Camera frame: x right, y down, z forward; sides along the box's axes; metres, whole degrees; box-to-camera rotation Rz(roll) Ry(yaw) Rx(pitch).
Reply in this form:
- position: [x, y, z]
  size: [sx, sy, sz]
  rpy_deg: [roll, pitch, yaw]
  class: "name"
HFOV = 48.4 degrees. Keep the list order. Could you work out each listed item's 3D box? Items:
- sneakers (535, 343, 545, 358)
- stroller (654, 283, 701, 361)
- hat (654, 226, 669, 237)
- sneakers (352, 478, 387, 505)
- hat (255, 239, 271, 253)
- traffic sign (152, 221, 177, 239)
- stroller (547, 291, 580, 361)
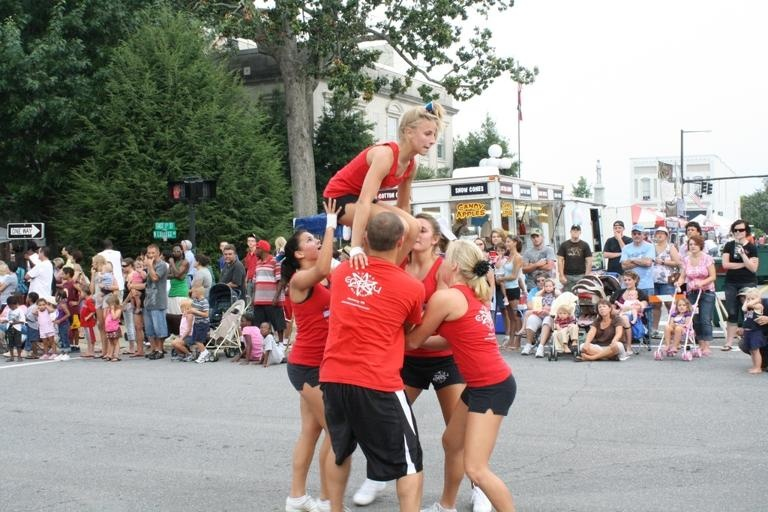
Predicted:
- position: [3.182, 1.933, 17.304]
  size: [0.212, 0.242, 0.614]
  rpy_deg: [-2, -10, 16]
  class: "sneakers"
- position: [5.966, 1.371, 17.144]
  size: [0.880, 1.333, 1.425]
  rpy_deg: [0, -1, 19]
  class: "stroller"
- position: [6.109, -0.538, 18.642]
  size: [0.224, 0.155, 0.321]
  rpy_deg: [0, 6, 8]
  class: "hat"
- position: [-0.186, 2.800, 10.130]
  size: [0.241, 0.275, 0.676]
  rpy_deg: [-14, -8, 28]
  class: "sneakers"
- position: [-2.610, -0.225, 18.027]
  size: [0.391, 0.209, 0.277]
  rpy_deg: [11, 6, 22]
  class: "hat"
- position: [-6.090, -0.717, 23.748]
  size: [0.736, 0.601, 0.106]
  rpy_deg: [0, 6, 3]
  class: "traffic sign"
- position: [3.642, 1.402, 17.166]
  size: [0.575, 1.321, 0.648]
  rpy_deg: [0, -1, 11]
  class: "stroller"
